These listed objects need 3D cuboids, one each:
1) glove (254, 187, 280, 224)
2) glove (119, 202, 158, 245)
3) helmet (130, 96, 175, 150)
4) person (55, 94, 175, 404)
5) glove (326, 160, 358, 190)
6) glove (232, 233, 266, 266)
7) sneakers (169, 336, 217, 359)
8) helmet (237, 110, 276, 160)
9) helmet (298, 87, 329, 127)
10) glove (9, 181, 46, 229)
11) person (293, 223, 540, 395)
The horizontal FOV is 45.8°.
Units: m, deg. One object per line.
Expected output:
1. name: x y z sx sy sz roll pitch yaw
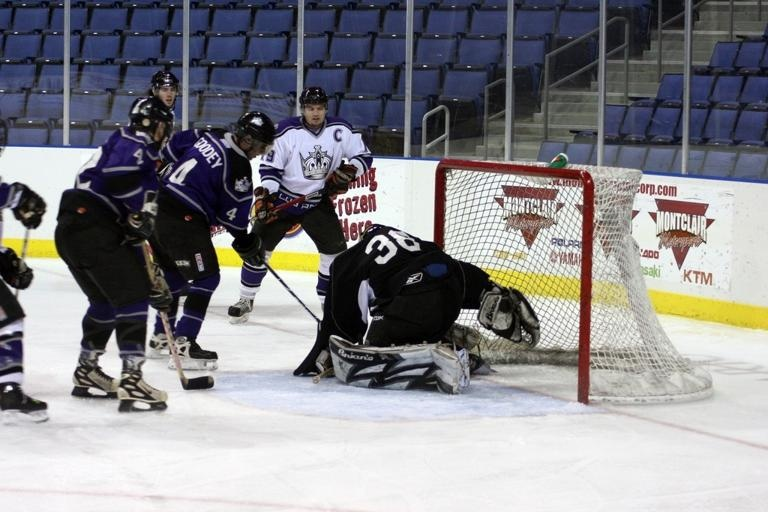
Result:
1. glove: -0.828 -0.343 6.281 0.197 0.209 0.103 1 3 -8
2. glove: -1.264 -0.171 4.724 0.140 0.221 0.103 35 -16 -35
3. helmet: -1.207 -0.701 4.822 0.281 0.230 0.232 1 24 -28
4. person: -1.399 -0.006 4.768 0.629 1.602 0.504 -3 15 -13
5. glove: -0.312 -0.556 6.434 0.173 0.098 0.215 -12 -24 -50
6. glove: -0.844 -0.052 5.684 0.180 0.173 0.229 -39 21 -9
7. sneakers: -1.170 0.573 5.596 0.323 0.114 0.105 3 0 -4
8. helmet: -0.778 -0.713 5.454 0.243 0.275 0.186 -5 15 -21
9. helmet: -0.486 -1.030 6.322 0.242 0.266 0.278 -3 30 -5
10. glove: -1.852 -0.266 4.702 0.174 0.233 0.189 -21 52 -17
11. person: 0.234 0.317 5.341 1.209 0.651 0.979 2 26 46
